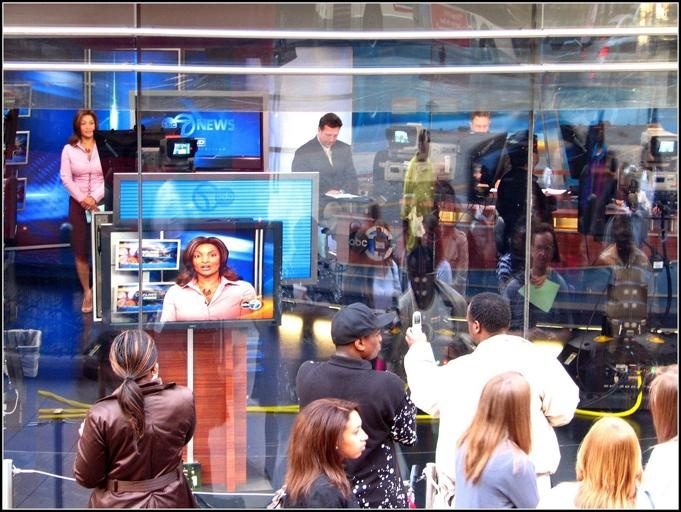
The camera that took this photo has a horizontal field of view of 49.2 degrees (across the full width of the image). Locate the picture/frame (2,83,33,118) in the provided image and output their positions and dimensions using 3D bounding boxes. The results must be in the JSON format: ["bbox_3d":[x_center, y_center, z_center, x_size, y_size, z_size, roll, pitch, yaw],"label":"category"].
[{"bbox_3d":[-2.314,-1.130,5.359,0.247,0.214,0.058,3,9,-1],"label":"picture/frame"}]

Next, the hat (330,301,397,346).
[{"bbox_3d":[0.121,0.365,4.500,0.426,0.197,0.261,-21,12,-14],"label":"hat"}]

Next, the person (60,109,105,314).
[{"bbox_3d":[-1.880,-0.320,5.402,0.289,1.468,0.115,-1,2,-17],"label":"person"}]

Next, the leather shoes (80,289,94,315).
[{"bbox_3d":[-1.855,0.332,5.430,0.063,0.193,0.084,2,0,-11],"label":"leather shoes"}]
